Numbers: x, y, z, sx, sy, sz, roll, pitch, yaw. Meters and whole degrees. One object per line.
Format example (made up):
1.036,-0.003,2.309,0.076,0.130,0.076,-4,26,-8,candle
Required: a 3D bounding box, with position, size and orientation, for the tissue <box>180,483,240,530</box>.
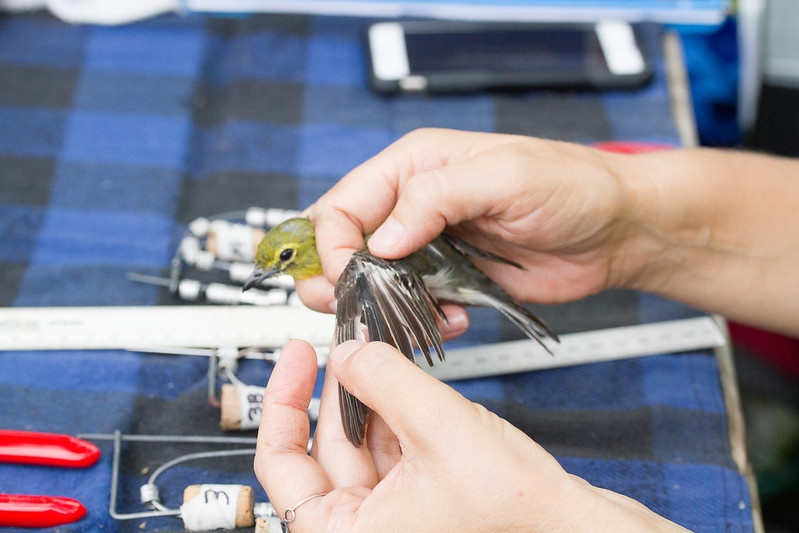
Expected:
-1.045,1.349,4.068,0.313,0.107,0.240,1,68,1,tissue
